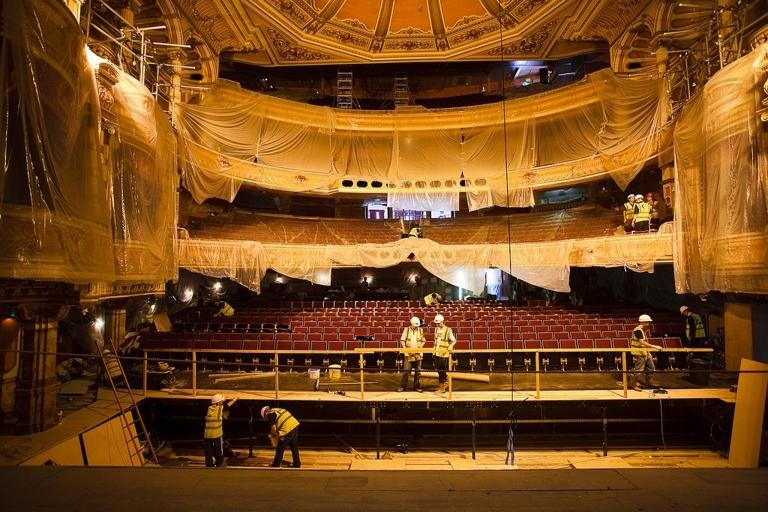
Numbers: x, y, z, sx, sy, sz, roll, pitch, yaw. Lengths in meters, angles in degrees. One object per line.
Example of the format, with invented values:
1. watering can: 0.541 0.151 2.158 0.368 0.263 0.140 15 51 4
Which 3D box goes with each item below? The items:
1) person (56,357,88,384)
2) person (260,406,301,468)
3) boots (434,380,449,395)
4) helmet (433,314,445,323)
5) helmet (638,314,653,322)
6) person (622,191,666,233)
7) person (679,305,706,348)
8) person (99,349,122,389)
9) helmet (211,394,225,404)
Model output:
1. person: -9.644 3.511 19.005 0.638 0.716 1.335 1 -7 -9
2. person: -2.594 4.549 15.519 0.986 1.492 1.556 1 -7 -8
3. boots: 1.589 3.638 16.859 0.458 0.306 0.185 17 -25 -29
4. helmet: 1.530 1.763 16.918 0.417 0.187 0.536 -6 -6 2
5. helmet: 7.732 1.845 18.147 0.535 0.225 0.435 4 -7 -34
6. person: 8.481 -1.413 20.209 1.028 1.346 0.721 -2 -7 15
7. person: 9.783 2.239 19.362 0.612 1.222 1.892 -3 -7 27
8. person: -8.163 3.217 18.487 0.580 0.921 0.624 18 7 38
9. helmet: -4.227 3.609 15.518 0.281 0.095 0.287 2 4 44
